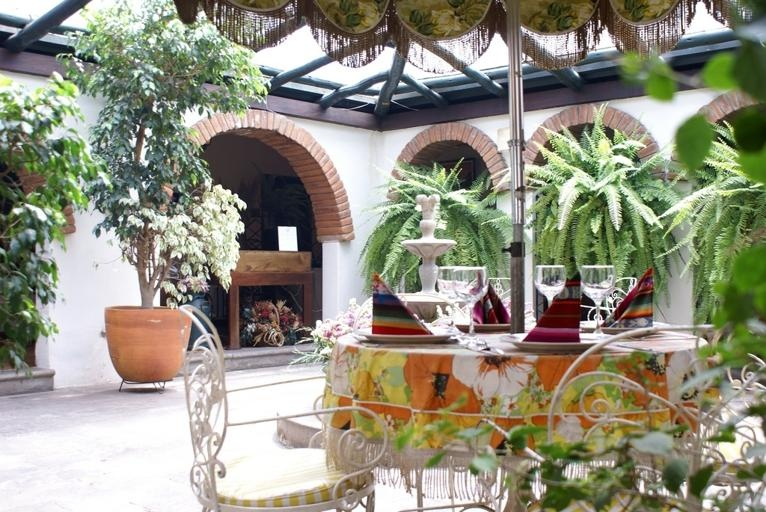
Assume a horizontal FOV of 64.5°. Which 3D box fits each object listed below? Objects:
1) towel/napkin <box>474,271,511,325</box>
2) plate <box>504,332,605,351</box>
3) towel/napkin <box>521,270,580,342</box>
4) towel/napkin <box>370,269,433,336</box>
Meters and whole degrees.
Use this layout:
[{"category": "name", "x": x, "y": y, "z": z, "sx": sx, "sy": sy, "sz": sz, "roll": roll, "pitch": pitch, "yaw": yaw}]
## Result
[{"category": "towel/napkin", "x": 0.415, "y": 0.176, "z": 2.356, "sx": 0.129, "sy": 0.192, "sz": 0.098, "roll": -4, "pitch": -20, "yaw": 5}, {"category": "plate", "x": 0.506, "y": 0.251, "z": 1.718, "sx": 0.155, "sy": 0.017, "sz": 0.156, "roll": -1, "pitch": -1, "yaw": -16}, {"category": "towel/napkin", "x": 0.519, "y": 0.138, "z": 1.816, "sx": 0.158, "sy": 0.274, "sz": 0.146, "roll": -1, "pitch": 5, "yaw": 2}, {"category": "towel/napkin", "x": 0.049, "y": 0.141, "z": 1.920, "sx": 0.193, "sy": 0.226, "sz": 0.176, "roll": -3, "pitch": -1, "yaw": 23}]
